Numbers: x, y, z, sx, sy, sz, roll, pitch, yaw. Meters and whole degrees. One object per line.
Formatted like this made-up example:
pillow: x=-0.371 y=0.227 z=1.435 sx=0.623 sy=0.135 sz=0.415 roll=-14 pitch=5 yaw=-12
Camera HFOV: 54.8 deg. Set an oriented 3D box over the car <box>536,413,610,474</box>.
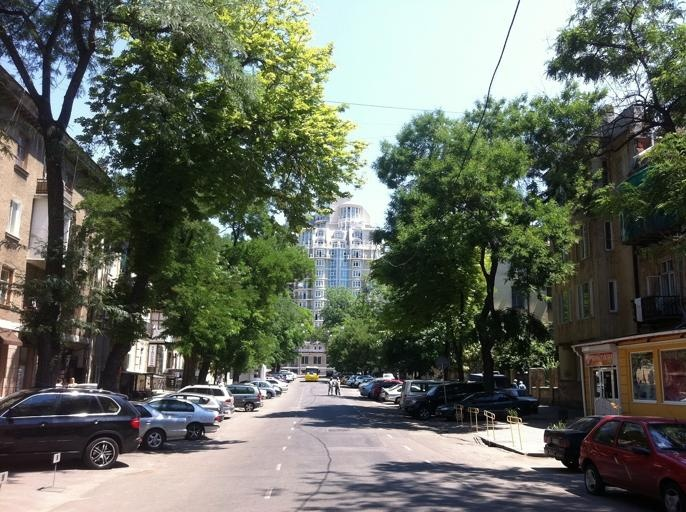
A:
car: x=7.670 y=6.155 z=22.176 sx=2.145 sy=1.109 sz=1.298 roll=1 pitch=-7 yaw=-18
